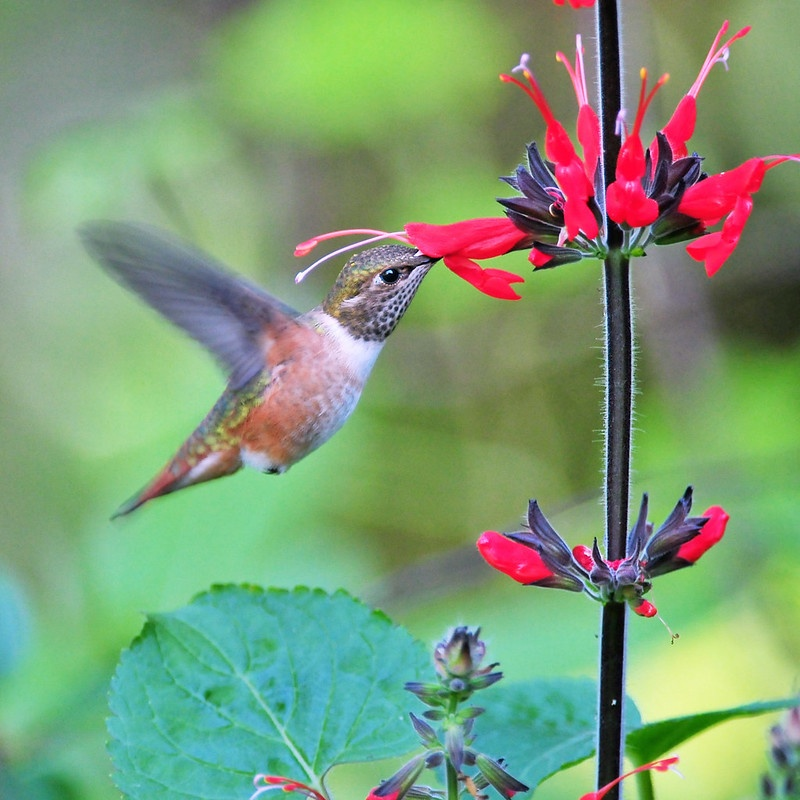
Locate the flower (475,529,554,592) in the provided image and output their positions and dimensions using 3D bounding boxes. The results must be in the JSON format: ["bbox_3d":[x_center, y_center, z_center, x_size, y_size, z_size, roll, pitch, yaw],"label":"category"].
[{"bbox_3d":[0.202,0.273,1.969,0.069,0.130,0.043,-63,-5,20],"label":"flower"}]

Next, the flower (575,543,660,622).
[{"bbox_3d":[0.367,0.306,1.950,0.115,0.166,0.248,-9,-24,6],"label":"flower"}]
